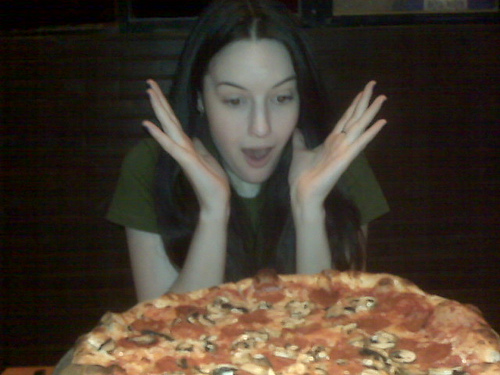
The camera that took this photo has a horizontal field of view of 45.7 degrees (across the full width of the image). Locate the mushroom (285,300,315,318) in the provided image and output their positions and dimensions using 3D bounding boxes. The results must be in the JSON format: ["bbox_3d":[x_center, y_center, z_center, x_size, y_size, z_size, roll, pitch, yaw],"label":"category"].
[{"bbox_3d":[0.156,0.371,1.833,0.057,0.015,0.053,8,14,10],"label":"mushroom"}]

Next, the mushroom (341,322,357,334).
[{"bbox_3d":[0.297,0.415,1.761,0.080,0.014,0.020,-3,-17,-35],"label":"mushroom"}]

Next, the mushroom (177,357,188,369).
[{"bbox_3d":[-0.188,0.480,1.631,0.025,0.006,0.022,8,28,2],"label":"mushroom"}]

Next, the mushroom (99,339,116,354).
[{"bbox_3d":[-0.402,0.446,1.675,0.041,0.015,0.053,4,12,18],"label":"mushroom"}]

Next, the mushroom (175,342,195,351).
[{"bbox_3d":[-0.186,0.449,1.682,0.052,0.011,0.032,1,12,2],"label":"mushroom"}]

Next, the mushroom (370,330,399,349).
[{"bbox_3d":[0.390,0.438,1.715,0.072,0.027,0.069,6,13,27],"label":"mushroom"}]

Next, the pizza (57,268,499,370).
[{"bbox_3d":[0.082,0.397,1.745,1.241,0.167,0.524,-2,12,-10],"label":"pizza"}]

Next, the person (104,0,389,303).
[{"bbox_3d":[-0.024,-0.152,2.051,1.099,0.972,0.571,-4,14,-9],"label":"person"}]

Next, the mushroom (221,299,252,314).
[{"bbox_3d":[-0.039,0.368,1.843,0.045,0.011,0.046,21,8,33],"label":"mushroom"}]

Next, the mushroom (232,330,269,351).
[{"bbox_3d":[0.002,0.440,1.714,0.070,0.028,0.103,10,15,39],"label":"mushroom"}]

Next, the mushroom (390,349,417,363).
[{"bbox_3d":[0.432,0.469,1.658,0.066,0.018,0.053,-4,12,-22],"label":"mushroom"}]

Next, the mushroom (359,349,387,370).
[{"bbox_3d":[0.344,0.478,1.655,0.077,0.028,0.061,4,12,16],"label":"mushroom"}]

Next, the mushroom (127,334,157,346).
[{"bbox_3d":[-0.312,0.437,1.698,0.069,0.013,0.049,-6,13,-28],"label":"mushroom"}]
